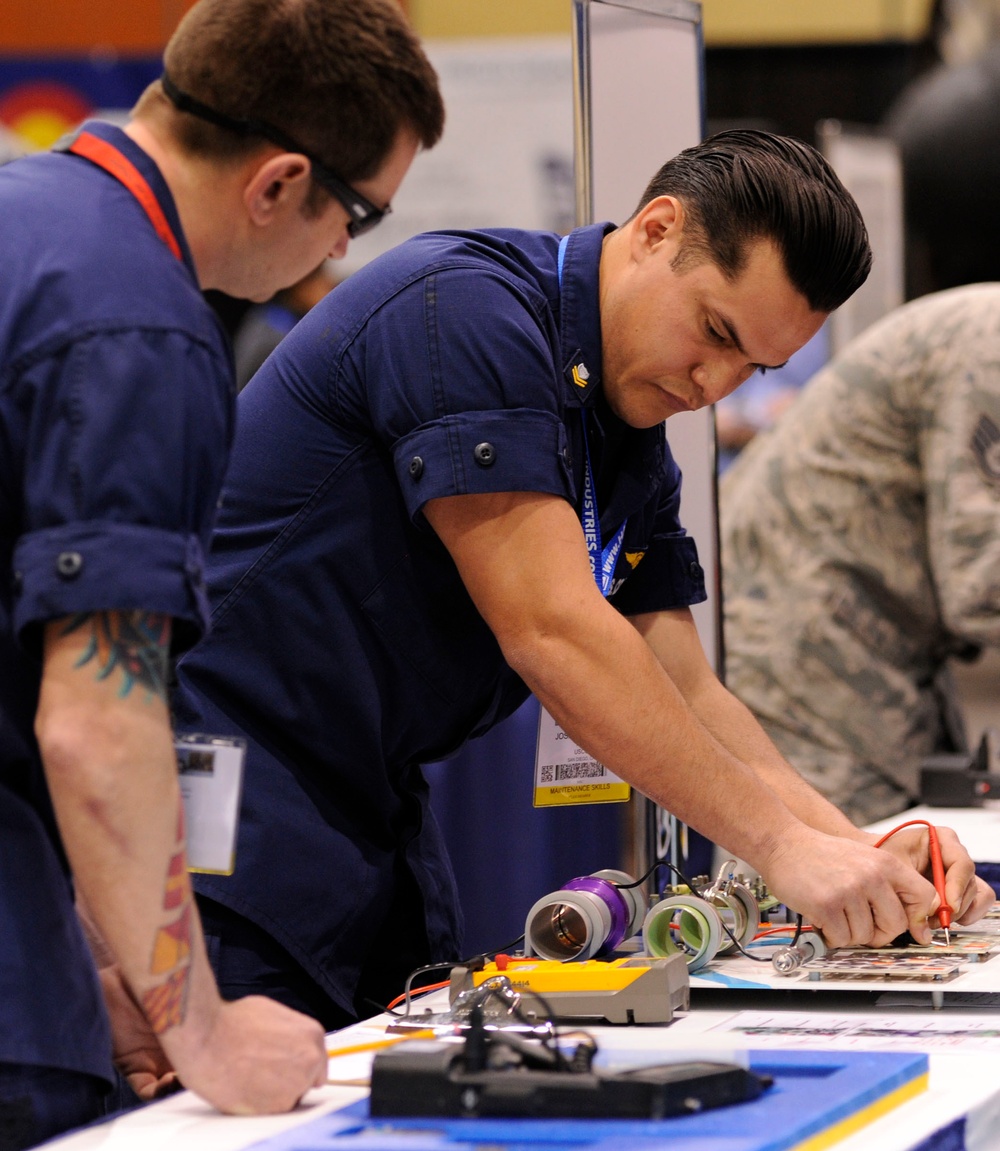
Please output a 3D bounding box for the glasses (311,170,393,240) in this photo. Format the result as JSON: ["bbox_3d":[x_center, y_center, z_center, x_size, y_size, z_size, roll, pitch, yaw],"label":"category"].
[{"bbox_3d":[-0.137,-0.331,1.363,0.014,0.048,0.039,-38,16,-14],"label":"glasses"}]
